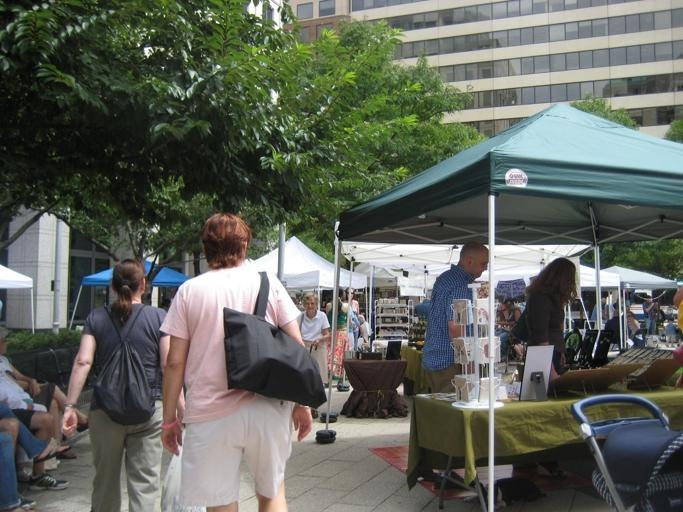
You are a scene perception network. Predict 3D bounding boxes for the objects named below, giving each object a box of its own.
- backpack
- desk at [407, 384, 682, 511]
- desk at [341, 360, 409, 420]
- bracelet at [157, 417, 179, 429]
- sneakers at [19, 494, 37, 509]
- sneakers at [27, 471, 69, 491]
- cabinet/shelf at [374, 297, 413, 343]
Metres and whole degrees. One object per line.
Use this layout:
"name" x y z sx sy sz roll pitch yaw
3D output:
"backpack" -1.989 1.052 6.344 0.360 0.786 0.512 -3 -11 43
"desk" 1.874 1.667 7.089 2.102 0.631 1.258 0 -9 -15
"desk" 0.533 2.068 11.172 0.961 0.917 0.875 2 -15 -4
"bracelet" -1.292 1.247 5.370 0.097 0.059 0.075 -5 -7 24
"sneakers" -3.195 2.472 7.256 0.263 0.129 0.124 -8 -12 41
"sneakers" -3.117 2.410 7.725 0.457 0.219 0.170 2 -7 -6
"cabinet/shelf" 1.467 1.796 20.081 1.007 1.801 0.636 1 -8 -6
